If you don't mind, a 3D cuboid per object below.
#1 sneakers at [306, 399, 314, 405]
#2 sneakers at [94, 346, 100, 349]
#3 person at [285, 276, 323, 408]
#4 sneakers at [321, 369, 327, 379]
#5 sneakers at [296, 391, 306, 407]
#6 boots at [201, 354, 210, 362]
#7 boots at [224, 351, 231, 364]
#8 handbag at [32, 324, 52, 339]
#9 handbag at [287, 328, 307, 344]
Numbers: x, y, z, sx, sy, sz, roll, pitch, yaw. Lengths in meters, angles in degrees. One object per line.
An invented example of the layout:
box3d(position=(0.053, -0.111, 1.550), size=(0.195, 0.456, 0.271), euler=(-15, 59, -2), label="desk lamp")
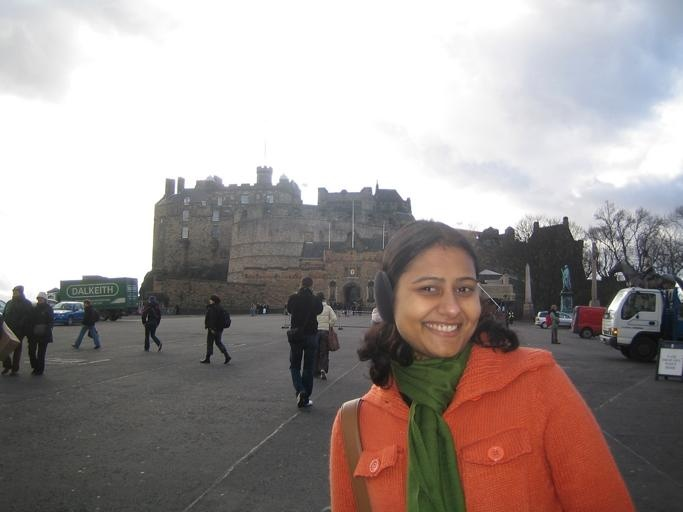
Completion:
box3d(position=(-0.485, 2.268, 8.437), size=(0.040, 0.052, 0.123), euler=(1, 2, 7), label="sneakers")
box3d(position=(-7.389, 2.763, 16.455), size=(0.250, 0.114, 0.092), euler=(1, -3, 19), label="sneakers")
box3d(position=(-0.609, 1.354, 8.972), size=(0.591, 1.821, 1.451), euler=(1, -1, -5), label="person")
box3d(position=(-0.357, 2.454, 11.300), size=(0.064, 0.199, 0.078), euler=(-2, 29, 8), label="sneakers")
box3d(position=(-0.613, 2.187, 8.284), size=(0.096, 0.258, 0.172), euler=(3, -3, -5), label="sneakers")
box3d(position=(-3.344, 2.505, 13.423), size=(0.196, 0.203, 0.568), euler=(2, -1, -15), label="boots")
box3d(position=(-2.804, 2.488, 13.369), size=(0.147, 0.274, 0.499), euler=(2, -1, -11), label="boots")
box3d(position=(-6.269, 1.579, 11.476), size=(0.390, 0.379, 0.278), euler=(7, -34, -42), label="handbag")
box3d(position=(-0.744, 1.280, 8.923), size=(0.353, 0.357, 0.202), euler=(-2, -2, 16), label="handbag")
